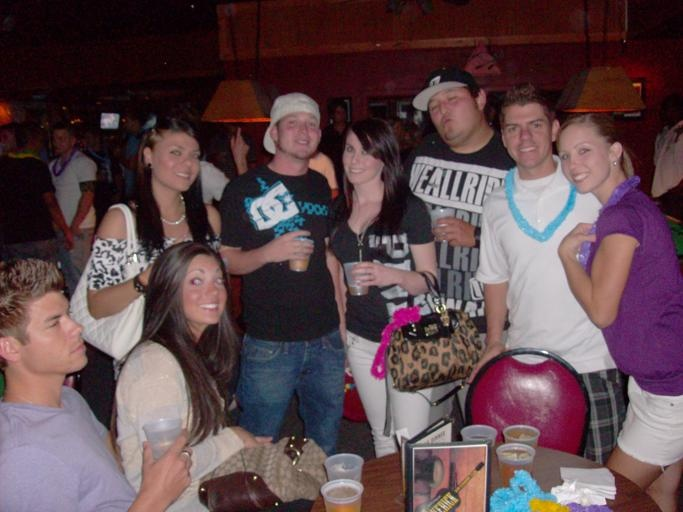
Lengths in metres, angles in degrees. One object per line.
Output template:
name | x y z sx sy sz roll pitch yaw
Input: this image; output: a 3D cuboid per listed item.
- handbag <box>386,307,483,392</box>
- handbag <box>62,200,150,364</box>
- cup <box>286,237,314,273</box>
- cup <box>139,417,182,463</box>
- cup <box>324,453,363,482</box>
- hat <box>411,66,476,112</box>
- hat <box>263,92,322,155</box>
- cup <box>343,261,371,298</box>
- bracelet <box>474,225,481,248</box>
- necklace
handbag | 0.538 0.510 3.072 0.594 0.485 0.259 -7 10 -27
handbag | -1.290 0.186 3.020 0.513 0.932 0.338 6 14 26
cup | -0.247 -0.011 3.205 0.187 0.211 0.188 2 9 0
cup | -0.785 0.781 2.311 0.168 0.150 0.156 2 5 0
cup | 0.016 0.931 2.395 0.139 0.108 0.135 2 3 0
hat | 0.702 -1.216 3.702 0.349 0.215 0.421 -12 1 24
hat | -0.346 -0.897 3.602 0.452 0.317 0.608 -10 26 3
cup | 0.088 0.136 3.160 0.174 0.193 0.178 -2 5 0
bracelet | 0.880 -0.133 3.439 0.041 0.141 0.054 6 5 13
necklace | 1.130 -0.296 3.133 0.276 0.437 0.073 -6 -28 21
